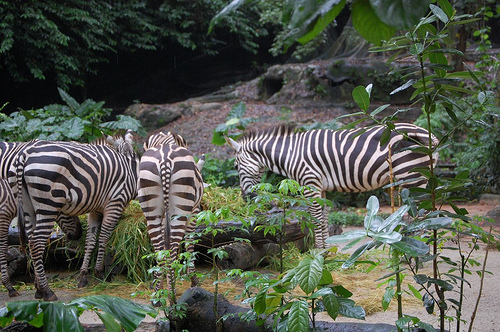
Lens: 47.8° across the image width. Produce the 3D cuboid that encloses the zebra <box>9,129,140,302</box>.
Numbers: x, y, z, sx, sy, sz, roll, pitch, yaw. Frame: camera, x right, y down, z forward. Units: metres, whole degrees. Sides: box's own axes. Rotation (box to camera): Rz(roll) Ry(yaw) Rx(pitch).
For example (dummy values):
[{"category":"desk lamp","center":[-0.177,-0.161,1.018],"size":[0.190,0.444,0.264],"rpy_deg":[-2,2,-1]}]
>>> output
[{"category":"zebra","center":[-2.344,0.591,7.582],"size":[1.606,2.210,0.556],"rpy_deg":[0,-1,-40]}]

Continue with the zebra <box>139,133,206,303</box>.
[{"category":"zebra","center":[-0.976,0.587,7.034],"size":[0.803,2.117,2.017],"rpy_deg":[-1,-1,-6]}]

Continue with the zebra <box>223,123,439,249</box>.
[{"category":"zebra","center":[1.226,0.213,8.348],"size":[3.115,1.900,0.913],"rpy_deg":[-4,15,22]}]
